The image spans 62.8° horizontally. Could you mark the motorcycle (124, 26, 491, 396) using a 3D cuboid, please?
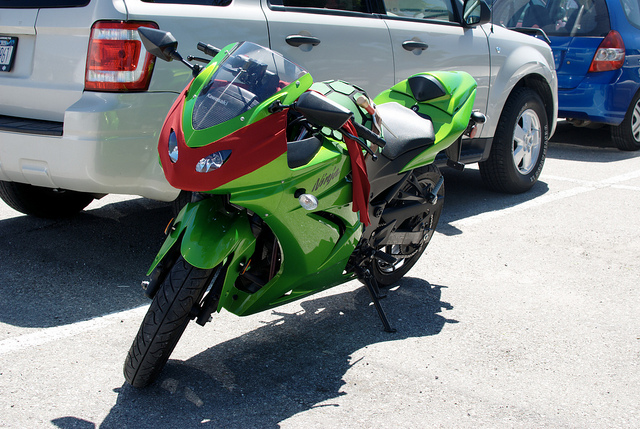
[{"bbox_3d":[0.075,-0.196,3.635,1.455,1.710,3.134,19,23,35],"label":"motorcycle"}]
